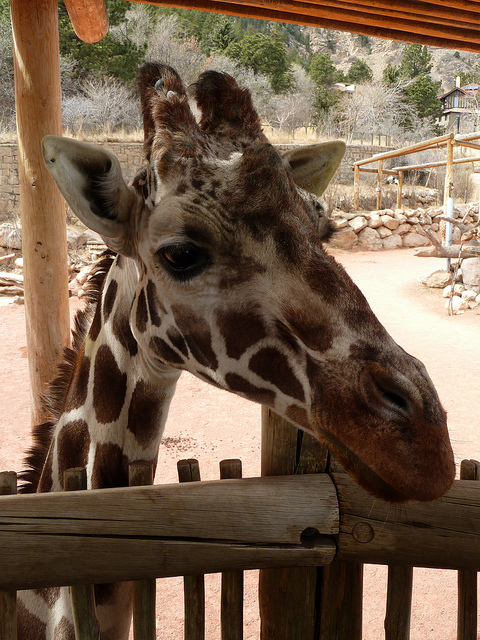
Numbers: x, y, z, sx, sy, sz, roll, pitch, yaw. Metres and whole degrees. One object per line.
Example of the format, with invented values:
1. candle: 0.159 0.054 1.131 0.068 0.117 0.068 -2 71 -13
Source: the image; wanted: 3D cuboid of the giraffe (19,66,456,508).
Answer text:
1. giraffe: -0.009 -0.026 2.043 1.156 1.323 0.408 7 17 23
